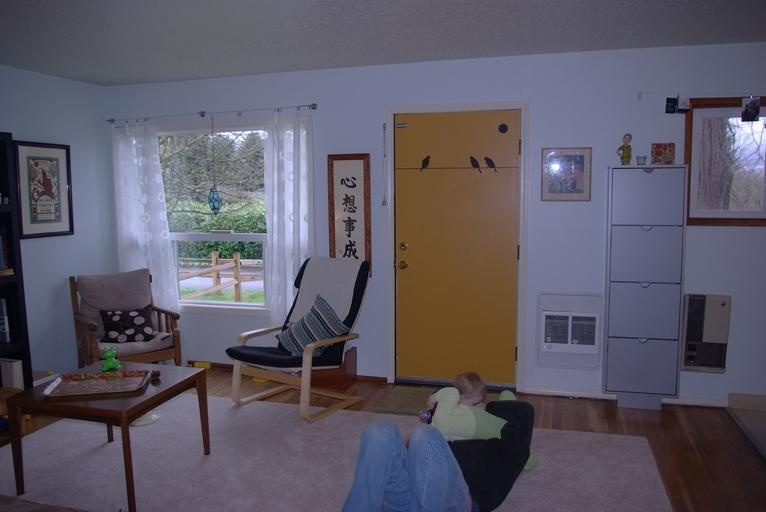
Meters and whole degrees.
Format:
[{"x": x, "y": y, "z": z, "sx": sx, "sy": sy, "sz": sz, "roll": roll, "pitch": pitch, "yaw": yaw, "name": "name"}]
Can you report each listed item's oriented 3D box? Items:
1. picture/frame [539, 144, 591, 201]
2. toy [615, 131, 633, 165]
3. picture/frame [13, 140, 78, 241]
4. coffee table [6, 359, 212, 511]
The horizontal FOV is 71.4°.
[{"x": 1.754, "y": -0.803, "z": 5.072, "sx": 0.577, "sy": 0.582, "sz": 0.023, "roll": 1, "pitch": 1, "yaw": 9, "name": "picture/frame"}, {"x": 2.223, "y": -0.982, "z": 4.894, "sx": 0.137, "sy": 0.299, "sz": 0.222, "roll": 3, "pitch": 7, "yaw": 24, "name": "toy"}, {"x": -3.478, "y": -0.675, "z": 5.496, "sx": 0.128, "sy": 0.962, "sz": 0.540, "roll": 3, "pitch": 7, "yaw": 21, "name": "picture/frame"}, {"x": -2.037, "y": 1.289, "z": 4.056, "sx": 1.097, "sy": 0.794, "sz": 0.903, "roll": 2, "pitch": 7, "yaw": 20, "name": "coffee table"}]
